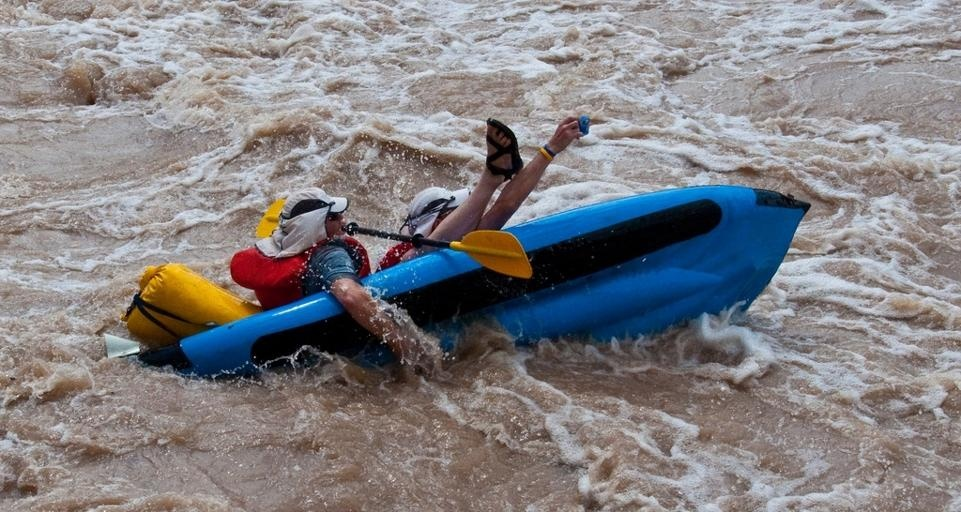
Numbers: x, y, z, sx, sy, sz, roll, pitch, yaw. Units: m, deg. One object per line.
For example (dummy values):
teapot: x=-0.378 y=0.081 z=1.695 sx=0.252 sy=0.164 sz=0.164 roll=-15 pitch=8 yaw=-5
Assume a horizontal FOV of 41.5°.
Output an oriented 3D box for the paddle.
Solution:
paddle: x=-0.989 y=-0.237 z=14.318 sx=3.219 sy=0.521 sz=0.504 roll=9 pitch=51 yaw=7

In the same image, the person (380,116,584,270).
person: x=0.010 y=-0.693 z=15.307 sx=3.016 sy=0.856 sz=1.004 roll=-28 pitch=78 yaw=8

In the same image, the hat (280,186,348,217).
hat: x=-1.886 y=-0.609 z=14.324 sx=0.583 sy=0.336 sz=0.189 roll=-13 pitch=94 yaw=-9

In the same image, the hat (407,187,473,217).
hat: x=-0.492 y=-0.651 z=14.787 sx=0.590 sy=0.355 sz=0.194 roll=-16 pitch=100 yaw=-10
